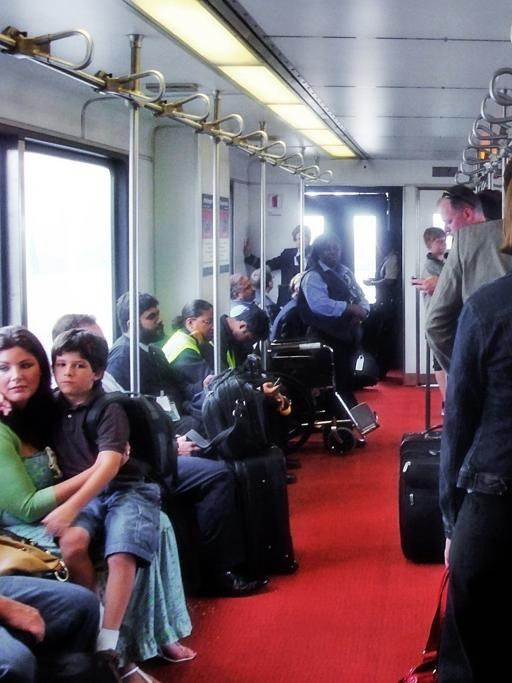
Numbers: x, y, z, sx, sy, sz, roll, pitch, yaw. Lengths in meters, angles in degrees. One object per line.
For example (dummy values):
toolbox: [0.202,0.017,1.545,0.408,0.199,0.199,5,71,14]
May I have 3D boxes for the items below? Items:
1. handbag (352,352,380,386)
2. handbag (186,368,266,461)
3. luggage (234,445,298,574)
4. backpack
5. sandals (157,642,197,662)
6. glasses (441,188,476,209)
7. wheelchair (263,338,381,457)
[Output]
handbag: [1.143,0.311,5.922,0.303,0.364,0.361,2,2,-8]
handbag: [-0.286,0.387,2.847,0.408,0.481,0.422,2,-9,-42]
luggage: [0.059,0.889,2.816,0.164,0.436,0.376,-2,2,30]
backpack: [-0.556,0.353,2.264,0.428,0.408,0.303,-4,13,-18]
sandals: [-0.290,1.154,2.108,0.168,0.060,0.053,-2,11,-16]
glasses: [1.209,-0.844,3.328,0.159,0.119,0.118,18,-11,25]
wheelchair: [0.594,0.482,5.256,1.288,1.330,0.792,-3,6,1]
